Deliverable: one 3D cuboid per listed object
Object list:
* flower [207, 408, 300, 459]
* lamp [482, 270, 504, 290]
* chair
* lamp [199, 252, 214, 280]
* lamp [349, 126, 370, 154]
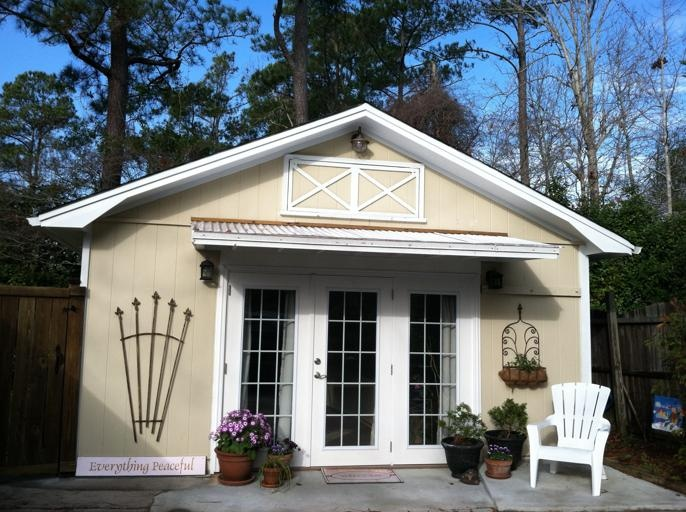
[{"bbox_3d":[-1.555,3.110,11.523,1.102,0.661,0.853,9,10,-23],"label":"flower"},{"bbox_3d":[2.856,0.462,12.633,0.315,0.454,0.304,2,-3,3],"label":"lamp"},{"bbox_3d":[4.002,3.148,11.595,1.241,1.827,1.021,-4,-10,25],"label":"chair"},{"bbox_3d":[-2.407,0.232,11.843,0.293,0.481,0.324,2,-4,-2],"label":"lamp"},{"bbox_3d":[0.319,-2.193,12.741,0.381,0.598,0.397,3,-7,-22],"label":"lamp"}]
